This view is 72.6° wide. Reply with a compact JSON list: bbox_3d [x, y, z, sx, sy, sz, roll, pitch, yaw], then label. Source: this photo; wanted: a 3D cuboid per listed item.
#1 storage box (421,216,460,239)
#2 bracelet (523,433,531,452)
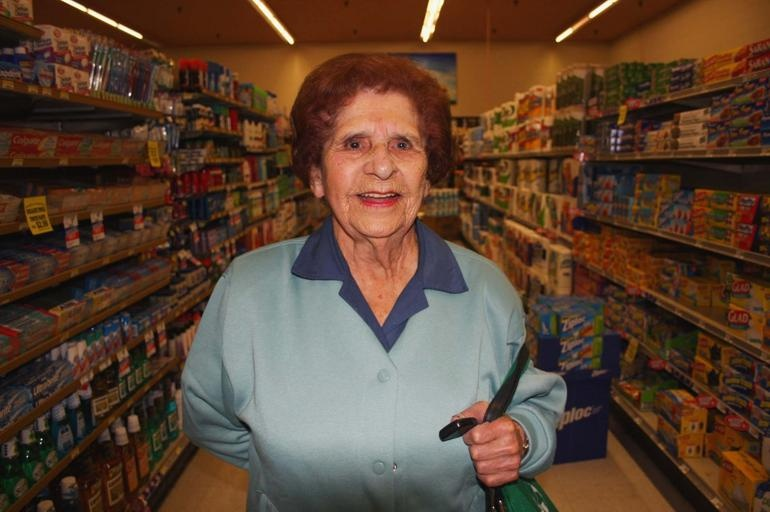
[{"bbox_3d":[1.303,-0.757,11.784,0.906,0.740,0.530,0,1,-1],"label":"storage box"},{"bbox_3d":[0.632,0.844,2.357,0.028,0.057,0.039,1,-12,4],"label":"bracelet"}]
